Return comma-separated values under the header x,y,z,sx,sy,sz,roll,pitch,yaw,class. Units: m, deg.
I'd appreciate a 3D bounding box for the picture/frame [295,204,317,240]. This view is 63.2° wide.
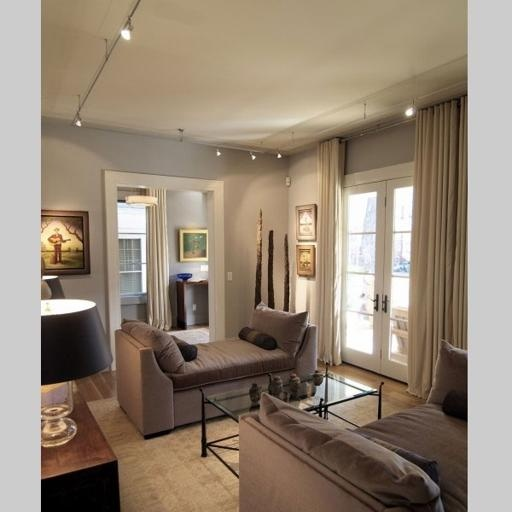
x,y,z,sx,sy,sz,roll,pitch,yaw,class
0.674,-0.456,5.703,0.296,0.474,0.039,-3,5,-13,picture/frame

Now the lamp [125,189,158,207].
x,y,z,sx,sy,sz,roll,pitch,yaw,class
-1.789,-0.928,6.465,0.355,0.151,0.380,2,3,28,lamp

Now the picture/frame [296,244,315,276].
x,y,z,sx,sy,sz,roll,pitch,yaw,class
0.681,0.050,5.670,0.045,0.512,0.384,-1,2,-29,picture/frame

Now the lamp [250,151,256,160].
x,y,z,sx,sy,sz,roll,pitch,yaw,class
-0.038,-1.398,5.752,0.089,0.133,0.097,-5,9,-33,lamp

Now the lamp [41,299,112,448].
x,y,z,sx,sy,sz,roll,pitch,yaw,class
-0.728,0.493,1.681,0.256,0.661,0.551,-2,3,-29,lamp

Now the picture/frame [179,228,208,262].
x,y,z,sx,sy,sz,roll,pitch,yaw,class
-1.179,-0.207,7.627,0.531,0.598,0.039,-1,0,-39,picture/frame

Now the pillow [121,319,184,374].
x,y,z,sx,sy,sz,roll,pitch,yaw,class
-0.823,0.723,3.364,0.308,0.340,0.601,-3,3,-33,pillow

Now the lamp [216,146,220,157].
x,y,z,sx,sy,sz,roll,pitch,yaw,class
-0.492,-1.376,5.407,0.061,0.128,0.288,-1,2,-5,lamp
